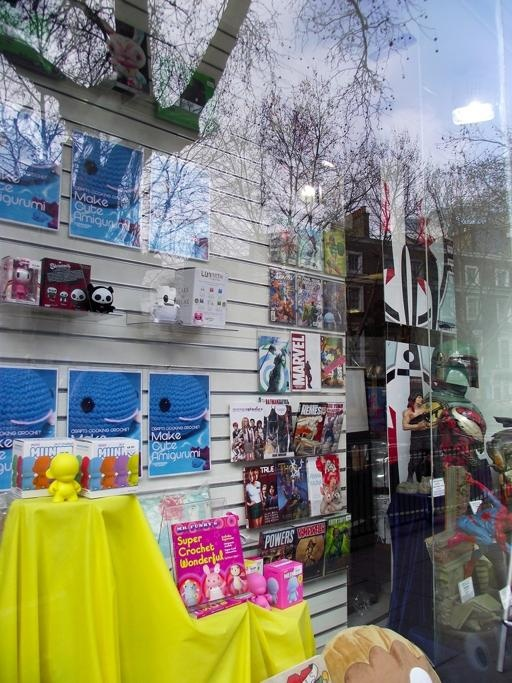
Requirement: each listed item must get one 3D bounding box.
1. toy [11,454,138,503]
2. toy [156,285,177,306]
[{"bbox_3d":[-0.466,0.341,1.340,0.317,0.115,0.169,1,-3,-21],"label":"toy"},{"bbox_3d":[-0.335,-0.172,1.929,0.071,0.073,0.073,-7,-7,33],"label":"toy"}]
